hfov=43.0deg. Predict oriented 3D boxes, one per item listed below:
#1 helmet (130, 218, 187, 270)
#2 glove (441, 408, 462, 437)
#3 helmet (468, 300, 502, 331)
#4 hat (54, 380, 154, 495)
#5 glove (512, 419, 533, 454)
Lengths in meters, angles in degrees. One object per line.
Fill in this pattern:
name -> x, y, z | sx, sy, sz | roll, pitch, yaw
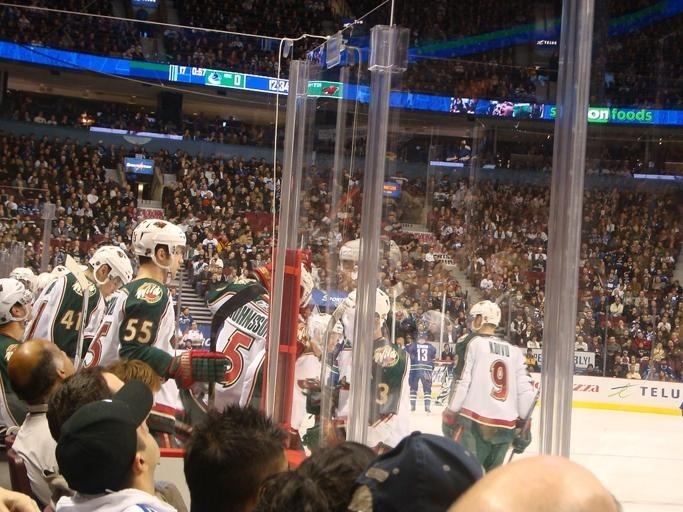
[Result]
helmet -> -1.050, -0.077, 4.977 | 0.288, 0.298, 0.246 | -2, 7, -23
glove -> 0.398, 0.611, 3.161 | 0.069, 0.136, 0.100 | -2, -2, 8
helmet -> 0.511, 0.215, 3.098 | 0.081, 0.099, 0.103 | 2, 3, -34
hat -> -0.822, 0.636, 3.049 | 0.244, 0.387, 0.200 | 7, -7, 32
glove -> 0.623, 0.626, 3.009 | 0.036, 0.104, 0.072 | 25, -5, -22
